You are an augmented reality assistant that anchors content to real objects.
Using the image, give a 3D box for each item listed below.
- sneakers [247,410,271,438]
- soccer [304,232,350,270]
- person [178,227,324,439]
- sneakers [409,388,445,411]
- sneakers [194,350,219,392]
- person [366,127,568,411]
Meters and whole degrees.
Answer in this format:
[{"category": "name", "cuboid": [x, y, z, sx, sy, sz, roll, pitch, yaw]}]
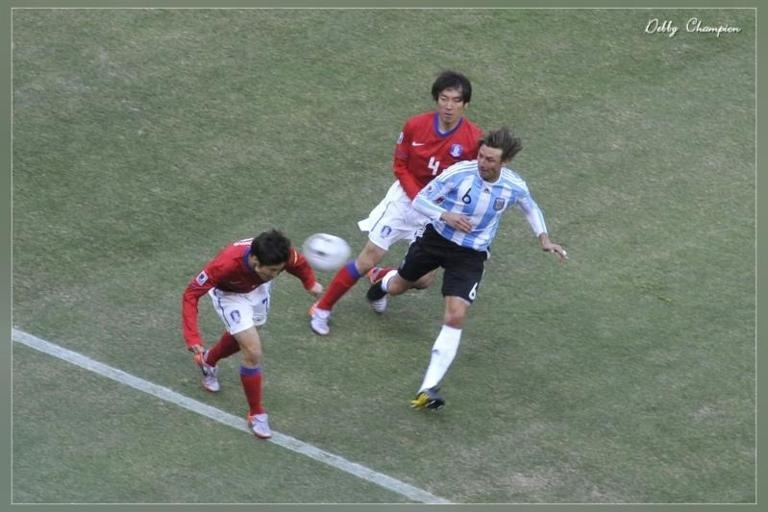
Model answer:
[{"category": "sneakers", "cuboid": [-0.992, 1.357, 11.262, 0.141, 0.112, 0.256, -15, 34, -36]}, {"category": "soccer", "cuboid": [-0.475, -0.029, 11.653, 0.348, 0.162, 0.314, -25, 58, -24]}, {"category": "person", "cuboid": [-1.061, 0.712, 11.462, 1.172, 1.524, 1.056, -21, 54, -31]}, {"category": "sneakers", "cuboid": [0.340, 1.150, 11.229, 0.302, 0.187, 0.125, 3, 71, -33]}, {"category": "sneakers", "cuboid": [-1.433, 0.944, 11.476, 0.183, 0.336, 0.136, -13, 16, 26]}, {"category": "person", "cuboid": [0.528, -0.070, 11.309, 1.061, 1.721, 1.373, 33, 50, 24]}]
